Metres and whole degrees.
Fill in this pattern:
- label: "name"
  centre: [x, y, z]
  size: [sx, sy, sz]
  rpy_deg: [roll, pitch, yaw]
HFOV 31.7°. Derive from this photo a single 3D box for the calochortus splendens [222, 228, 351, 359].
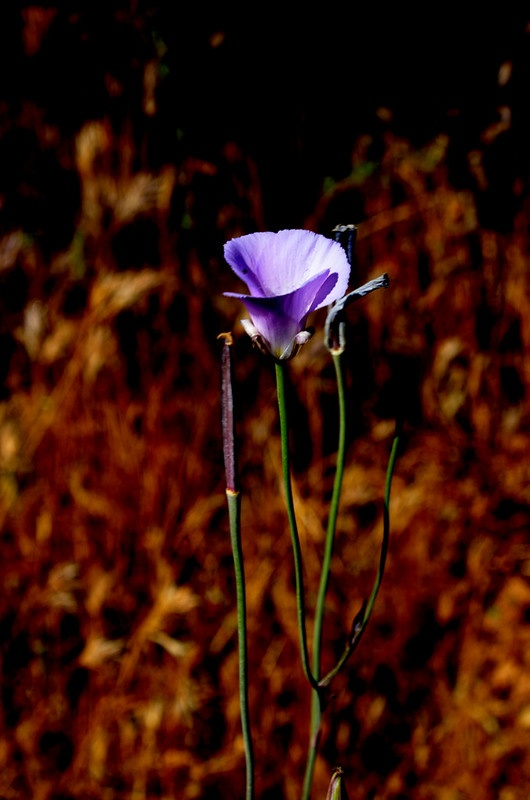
- label: "calochortus splendens"
  centre: [0.008, -0.058, 0.539]
  size: [0.067, 0.075, 0.080]
  rpy_deg: [10, 17, 33]
